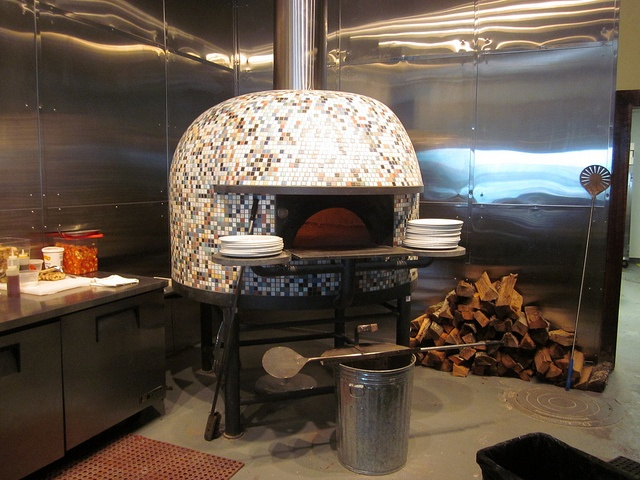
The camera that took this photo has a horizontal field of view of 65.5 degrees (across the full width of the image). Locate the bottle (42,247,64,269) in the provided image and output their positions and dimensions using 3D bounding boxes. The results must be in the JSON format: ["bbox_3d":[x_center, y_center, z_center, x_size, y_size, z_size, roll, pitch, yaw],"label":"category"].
[{"bbox_3d":[-2.032,0.134,3.788,0.155,0.142,0.153,1,7,6],"label":"bottle"}]

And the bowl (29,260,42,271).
[{"bbox_3d":[-2.109,0.192,3.704,0.082,0.055,0.084,1,0,0],"label":"bowl"}]

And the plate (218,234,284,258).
[{"bbox_3d":[-0.441,0.050,3.200,0.403,0.123,0.130,-2,13,-10],"label":"plate"}]

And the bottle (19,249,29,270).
[{"bbox_3d":[-2.127,0.147,3.579,0.063,0.140,0.083,-8,15,-32],"label":"bottle"}]

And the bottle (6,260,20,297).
[{"bbox_3d":[-2.123,0.253,3.441,0.077,0.265,0.156,-6,14,-25],"label":"bottle"}]

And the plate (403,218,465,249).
[{"bbox_3d":[0.771,-0.035,3.452,0.238,0.119,0.274,-1,9,-3],"label":"plate"}]
